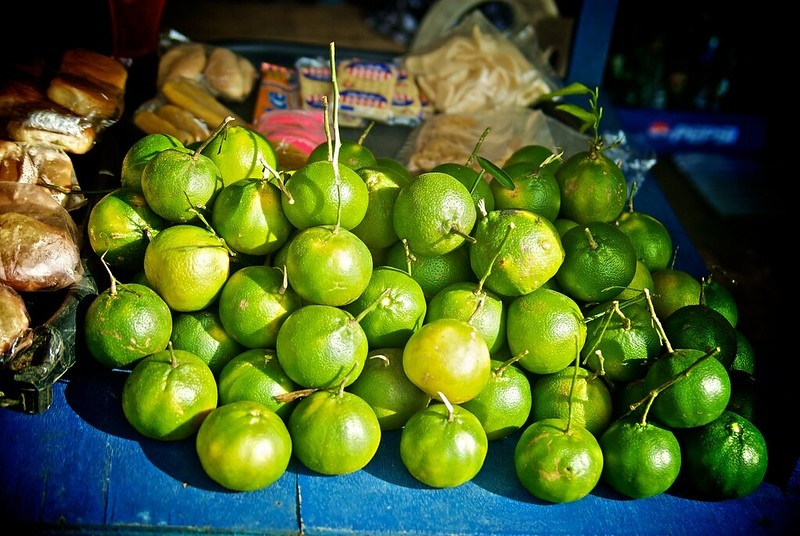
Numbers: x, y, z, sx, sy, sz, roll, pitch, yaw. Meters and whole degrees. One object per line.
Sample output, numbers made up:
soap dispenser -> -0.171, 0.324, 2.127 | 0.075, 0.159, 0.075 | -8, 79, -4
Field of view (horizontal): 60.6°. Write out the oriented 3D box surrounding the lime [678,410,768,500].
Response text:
lime -> 0.735, 0.405, 1.525 | 0.150, 0.145, 0.203 | 1, 49, 20

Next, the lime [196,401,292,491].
lime -> -0.321, 0.366, 1.411 | 0.176, 0.113, 0.171 | -19, 63, -21

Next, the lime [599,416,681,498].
lime -> 0.524, 0.420, 1.511 | 0.163, 0.172, 0.164 | 4, 104, -2

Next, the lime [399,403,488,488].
lime -> 0.089, 0.340, 1.479 | 0.183, 0.175, 0.179 | -4, 93, -34

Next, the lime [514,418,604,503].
lime -> 0.336, 0.402, 1.514 | 0.179, 0.185, 0.183 | 0, 97, 2
